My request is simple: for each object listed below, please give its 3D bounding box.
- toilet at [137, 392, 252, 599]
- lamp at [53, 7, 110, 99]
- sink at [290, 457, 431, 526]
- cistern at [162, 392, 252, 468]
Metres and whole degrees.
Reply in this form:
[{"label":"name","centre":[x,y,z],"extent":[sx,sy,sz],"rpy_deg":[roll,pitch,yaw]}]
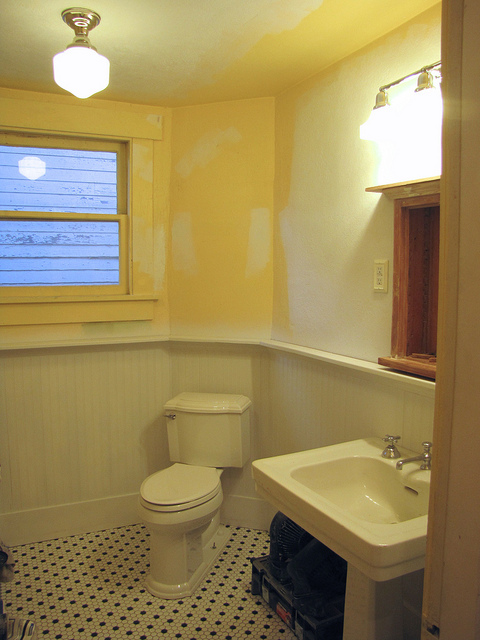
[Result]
[{"label":"toilet","centre":[-0.199,0.756,2.308],"extent":[0.404,0.722,0.684],"rpy_deg":[1,5,12]},{"label":"lamp","centre":[-0.528,-0.889,1.685],"extent":[0.155,0.242,0.167],"rpy_deg":[4,6,39]},{"label":"sink","centre":[0.351,0.495,1.462],"extent":[0.225,0.122,0.332],"rpy_deg":[-7,7,-25]},{"label":"cistern","centre":[-0.163,0.528,2.524],"extent":[0.393,0.347,0.253],"rpy_deg":[1,13,17]}]
